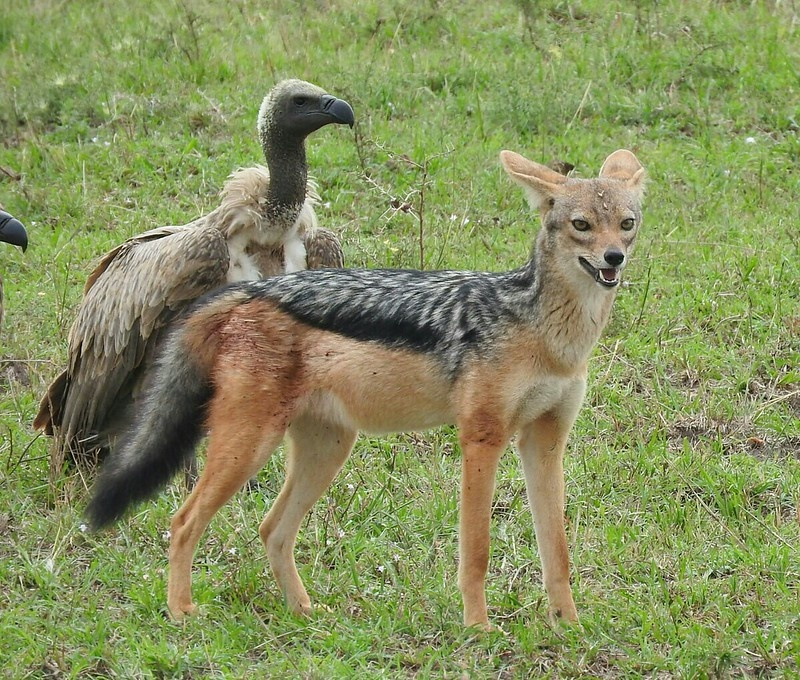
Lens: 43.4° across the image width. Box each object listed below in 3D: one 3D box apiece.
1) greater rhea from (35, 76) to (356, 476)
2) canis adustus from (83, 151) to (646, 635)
[{"bbox_3d":[-1.328,-0.319,6.586,2.337,2.647,1.392,-2,-2,17],"label":"greater rhea"},{"bbox_3d":[-0.036,0.277,4.935,2.814,2.153,0.948,-1,-4,26],"label":"canis adustus"}]
